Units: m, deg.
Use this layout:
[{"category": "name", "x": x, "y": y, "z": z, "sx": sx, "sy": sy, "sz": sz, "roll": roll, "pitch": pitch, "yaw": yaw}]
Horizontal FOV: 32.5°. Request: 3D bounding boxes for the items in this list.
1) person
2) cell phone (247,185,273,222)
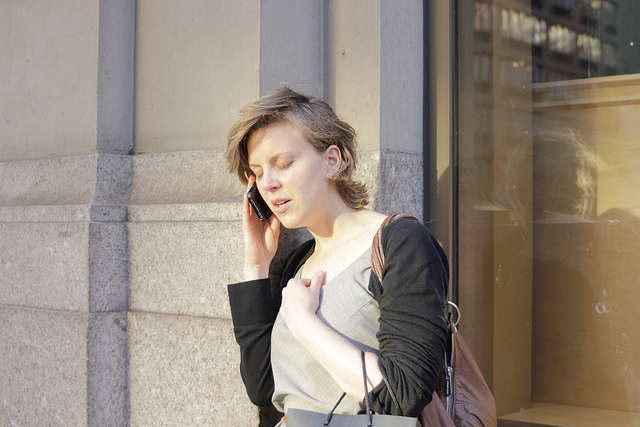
[{"category": "person", "x": 0.046, "y": 0.299, "z": 6.166, "sx": 0.986, "sy": 2.117, "sz": 1.299, "roll": 9, "pitch": -17, "yaw": -33}, {"category": "cell phone", "x": -0.348, "y": -0.052, "z": 6.397, "sx": 0.037, "sy": 0.188, "sz": 0.178, "roll": -22, "pitch": 32, "yaw": -6}]
